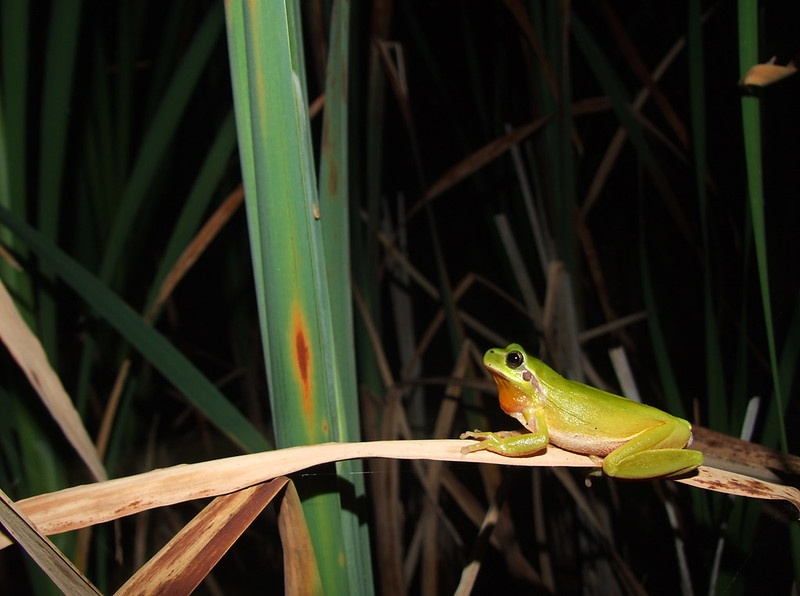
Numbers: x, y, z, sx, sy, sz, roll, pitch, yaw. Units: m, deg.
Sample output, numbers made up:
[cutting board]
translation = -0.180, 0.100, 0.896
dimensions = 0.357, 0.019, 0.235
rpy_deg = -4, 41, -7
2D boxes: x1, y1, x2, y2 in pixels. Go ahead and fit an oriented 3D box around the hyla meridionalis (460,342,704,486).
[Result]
[hyla meridionalis]
translation = 0.626, 0.393, 2.936
dimensions = 0.597, 0.433, 0.352
rpy_deg = 5, -81, 9
